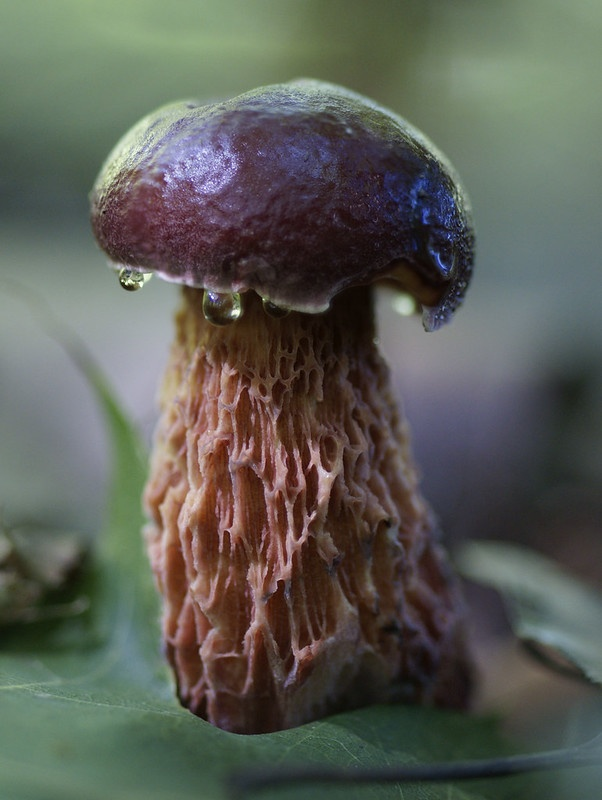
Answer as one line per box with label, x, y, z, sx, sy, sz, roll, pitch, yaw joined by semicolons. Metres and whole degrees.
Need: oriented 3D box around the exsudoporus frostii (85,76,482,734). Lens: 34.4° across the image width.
exsudoporus frostii;-0.035;0.047;0.931;0.370;0.350;0.579;-1;96;18
